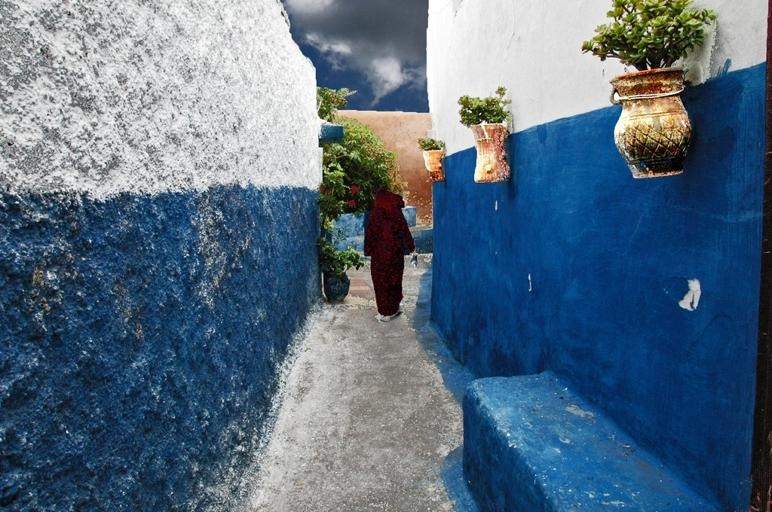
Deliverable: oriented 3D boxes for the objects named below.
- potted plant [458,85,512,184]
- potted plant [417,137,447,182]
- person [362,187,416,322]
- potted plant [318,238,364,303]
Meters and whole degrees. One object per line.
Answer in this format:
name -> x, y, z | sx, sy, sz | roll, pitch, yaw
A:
potted plant -> 0.690, -0.836, 4.140 | 0.356, 0.615, 0.283 | 0, 11, -1
potted plant -> 0.512, -1.027, 6.375 | 0.356, 0.584, 0.400 | -5, 3, 9
person -> 0.042, -0.027, 7.410 | 0.591, 1.613, 1.013 | 0, 11, -1
potted plant -> -0.659, 0.203, 8.473 | 0.557, 0.850, 0.734 | -6, 13, -28
